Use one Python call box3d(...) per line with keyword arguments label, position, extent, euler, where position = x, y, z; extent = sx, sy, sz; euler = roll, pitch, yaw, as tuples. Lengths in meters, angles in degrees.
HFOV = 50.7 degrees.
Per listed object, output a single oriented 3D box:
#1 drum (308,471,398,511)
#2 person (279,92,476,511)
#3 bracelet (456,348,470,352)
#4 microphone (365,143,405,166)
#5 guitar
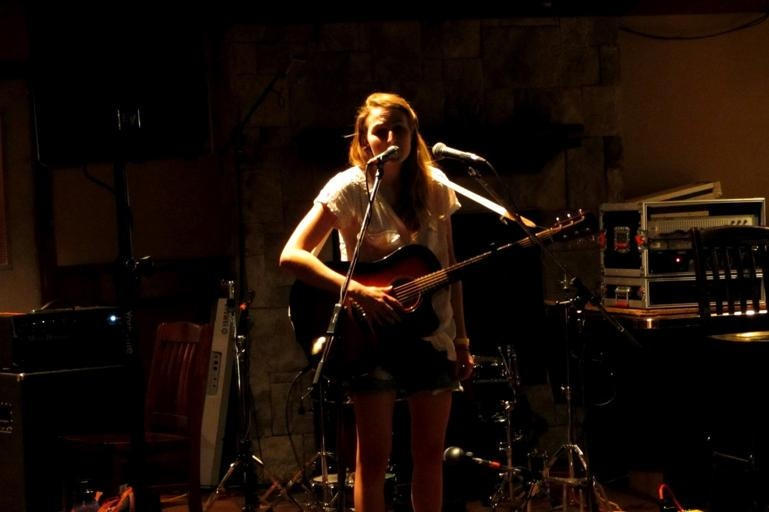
box3d(label="drum", position=(-0.261, 1.551, 5.442), extent=(0.430, 0.215, 0.556), euler=(0, -7, 2))
box3d(label="person", position=(-0.002, 0.240, 4.477), extent=(0.967, 2.299, 0.365), euler=(-1, -7, 2))
box3d(label="bracelet", position=(0.446, 0.522, 4.531), extent=(0.067, 0.036, 0.014), euler=(-4, 0, 6))
box3d(label="microphone", position=(0.021, -0.542, 4.433), extent=(0.075, 0.081, 0.258), euler=(14, 33, 43))
box3d(label="guitar", position=(0.253, 0.181, 4.534), extent=(1.473, 0.631, 0.209), euler=(-22, -1, -4))
